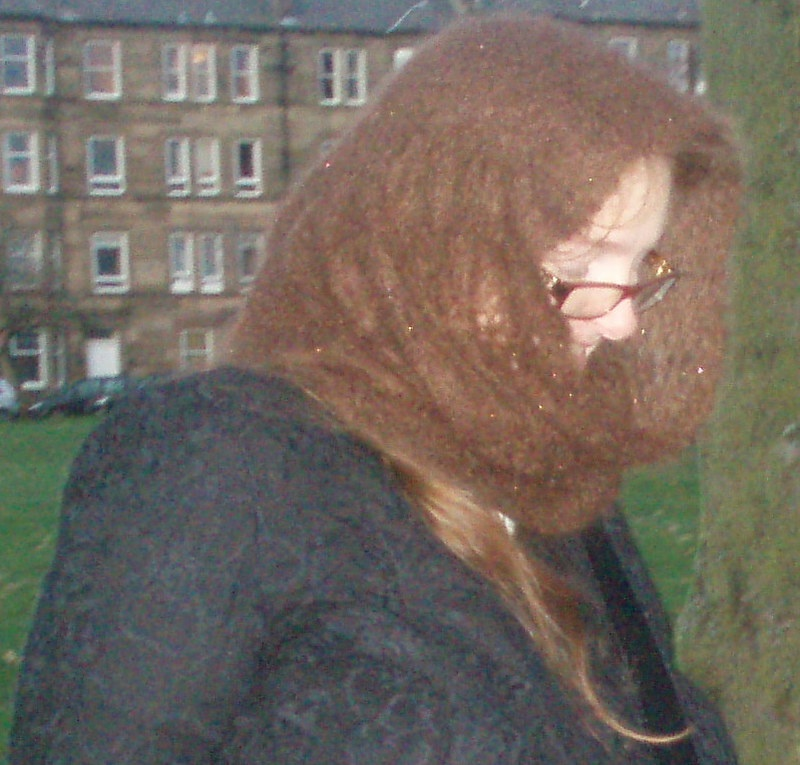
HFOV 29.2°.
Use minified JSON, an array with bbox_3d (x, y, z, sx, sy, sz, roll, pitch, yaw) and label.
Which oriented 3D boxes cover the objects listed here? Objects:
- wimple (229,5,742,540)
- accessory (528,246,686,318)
[{"bbox_3d":[0.129,-0.237,2.267,0.691,0.673,0.560,0,33,-2],"label":"wimple"},{"bbox_3d":[0.292,-0.124,2.114,0.135,0.106,0.053,-8,55,-12],"label":"accessory"}]
